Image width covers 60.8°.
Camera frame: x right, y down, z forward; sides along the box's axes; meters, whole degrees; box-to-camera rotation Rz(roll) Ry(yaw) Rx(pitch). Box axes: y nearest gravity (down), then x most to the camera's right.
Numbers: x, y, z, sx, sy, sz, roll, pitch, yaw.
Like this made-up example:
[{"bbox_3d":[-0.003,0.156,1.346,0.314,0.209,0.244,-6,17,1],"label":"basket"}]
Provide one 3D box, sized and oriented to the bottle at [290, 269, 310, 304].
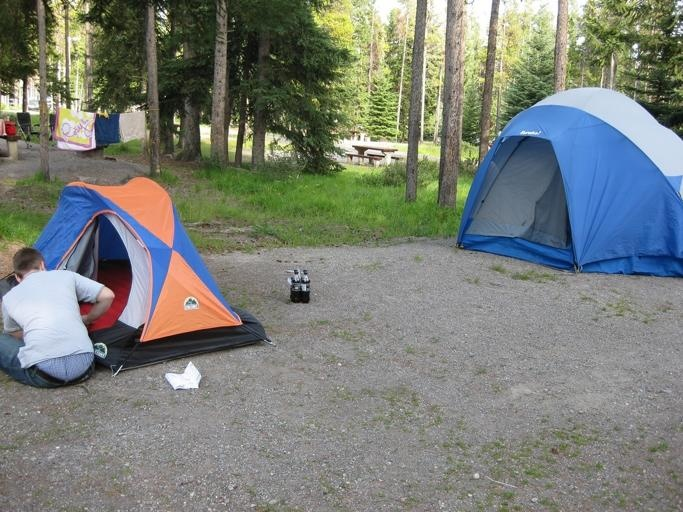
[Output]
[{"bbox_3d":[-0.677,0.499,9.668,0.389,0.660,0.460,0,-2,-2],"label":"bottle"}]
